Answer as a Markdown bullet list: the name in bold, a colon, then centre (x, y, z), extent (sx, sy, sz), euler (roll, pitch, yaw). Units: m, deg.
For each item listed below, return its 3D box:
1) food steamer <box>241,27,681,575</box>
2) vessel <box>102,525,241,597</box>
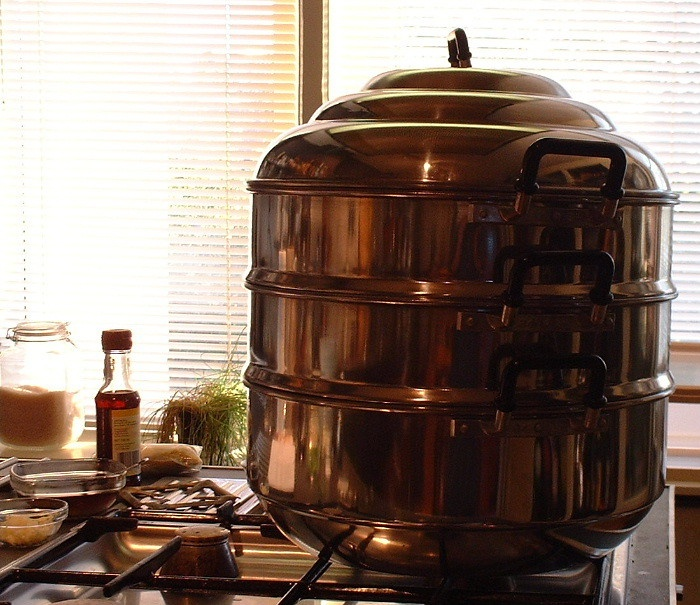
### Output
- **food steamer**: centre (0.125, 0.009, 0.893), extent (0.467, 0.539, 0.209), euler (3, -4, -6)
- **vessel**: centre (-0.185, 0.278, 0.956), extent (0.067, 0.030, 0.137), euler (2, 2, 35)
